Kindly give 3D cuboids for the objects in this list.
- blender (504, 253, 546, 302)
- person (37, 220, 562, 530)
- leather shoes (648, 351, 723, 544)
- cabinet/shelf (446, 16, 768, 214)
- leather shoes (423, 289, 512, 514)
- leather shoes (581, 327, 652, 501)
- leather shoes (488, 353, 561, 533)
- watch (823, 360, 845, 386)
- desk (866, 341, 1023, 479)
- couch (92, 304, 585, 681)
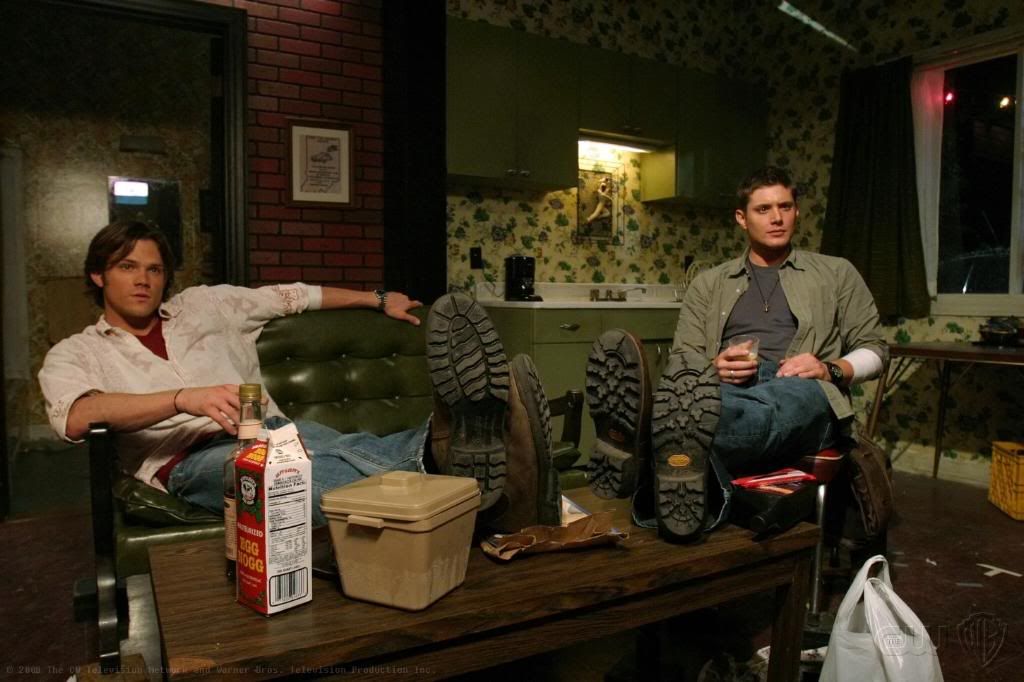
[{"bbox_3d":[0.057,-0.415,5.027,0.309,0.359,0.247,-1,-1,44],"label":"blender"},{"bbox_3d":[-0.764,0.086,2.939,1.815,0.941,1.133,-2,-1,24],"label":"person"},{"bbox_3d":[0.494,0.316,2.359,0.205,0.560,0.248,2,-6,5],"label":"leather shoes"},{"bbox_3d":[0.677,-1.482,5.130,2.410,1.015,0.313,-5,9,-33],"label":"cabinet/shelf"},{"bbox_3d":[-0.142,0.175,2.322,0.247,0.633,0.285,-2,-5,-24],"label":"leather shoes"},{"bbox_3d":[0.318,0.220,2.444,0.195,0.523,0.251,1,-1,30],"label":"leather shoes"},{"bbox_3d":[0.003,0.306,2.343,0.191,0.519,0.244,2,-3,-6],"label":"leather shoes"},{"bbox_3d":[1.289,0.130,3.118,0.075,0.092,0.035,-5,-19,-25],"label":"watch"},{"bbox_3d":[2.610,0.409,4.575,0.680,0.761,0.827,-3,5,-27],"label":"desk"},{"bbox_3d":[-0.784,0.687,3.105,2.155,1.300,1.078,-3,-3,-20],"label":"couch"}]
